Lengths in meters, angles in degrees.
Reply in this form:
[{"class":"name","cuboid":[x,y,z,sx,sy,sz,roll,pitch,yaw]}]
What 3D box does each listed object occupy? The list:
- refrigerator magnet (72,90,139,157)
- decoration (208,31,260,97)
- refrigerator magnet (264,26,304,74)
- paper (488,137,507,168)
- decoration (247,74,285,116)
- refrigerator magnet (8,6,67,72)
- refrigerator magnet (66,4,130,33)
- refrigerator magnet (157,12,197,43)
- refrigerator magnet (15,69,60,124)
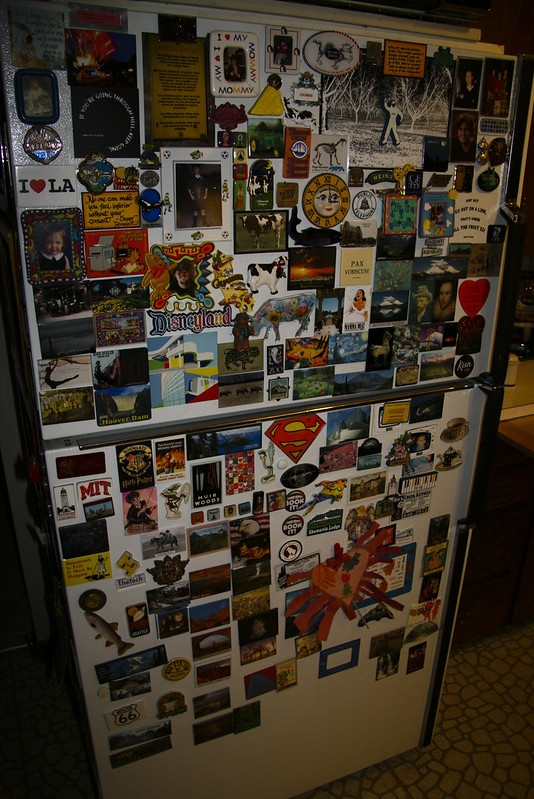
[{"class":"refrigerator magnet","cuboid":[-0.214,-0.361,0.769,0.090,0.080,0.010,-6,26,-34]},{"class":"decoration","cuboid":[-0.044,-0.454,0.830,0.086,0.083,0.020,-10,16,-30]},{"class":"refrigerator magnet","cuboid":[0.021,-0.511,0.863,0.069,0.074,0.003,-13,27,-25]},{"class":"paper","cuboid":[0.428,-0.461,1.100,0.047,0.046,0.009,-1,16,-38]},{"class":"decoration","cuboid":[0.003,-0.448,0.872,0.056,0.054,0.013,-24,40,-31]},{"class":"refrigerator magnet","cuboid":[-0.277,-0.432,0.706,0.076,0.075,0.006,-13,31,-37]},{"class":"refrigerator magnet","cuboid":[-0.209,-0.472,0.735,0.074,0.027,0.004,-13,26,-27]},{"class":"refrigerator magnet","cuboid":[-0.118,-0.491,0.787,0.060,0.032,0.006,-16,28,-34]},{"class":"refrigerator magnet","cuboid":[-0.282,-0.373,0.724,0.054,0.065,0.011,-16,40,-31]}]
